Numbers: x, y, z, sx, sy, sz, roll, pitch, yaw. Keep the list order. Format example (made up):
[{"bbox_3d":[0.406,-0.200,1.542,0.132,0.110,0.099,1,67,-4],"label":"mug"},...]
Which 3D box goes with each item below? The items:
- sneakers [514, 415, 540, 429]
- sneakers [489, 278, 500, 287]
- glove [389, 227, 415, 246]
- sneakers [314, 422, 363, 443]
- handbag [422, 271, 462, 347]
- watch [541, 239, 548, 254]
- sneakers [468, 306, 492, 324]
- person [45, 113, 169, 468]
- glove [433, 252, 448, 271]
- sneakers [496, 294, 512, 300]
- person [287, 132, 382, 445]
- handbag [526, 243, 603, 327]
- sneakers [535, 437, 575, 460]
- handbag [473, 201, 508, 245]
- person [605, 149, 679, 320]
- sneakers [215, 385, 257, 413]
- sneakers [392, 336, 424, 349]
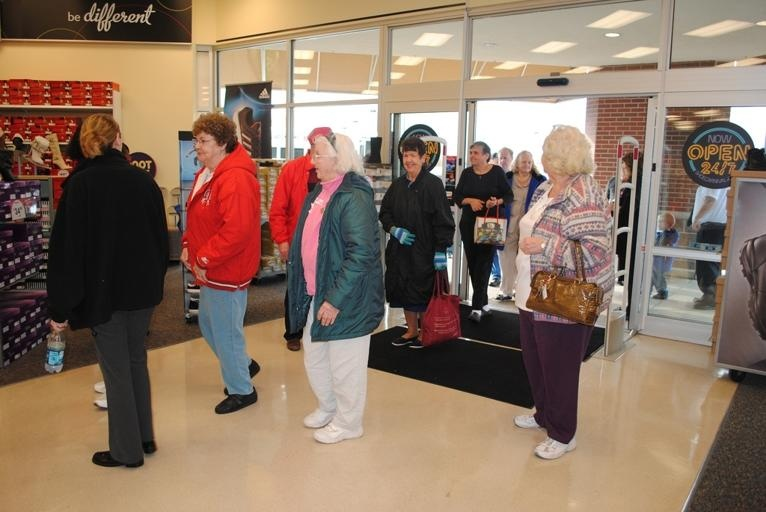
[{"bbox_3d":[1.114,1.290,4.097,0.189,0.079,0.081,7,20,2],"label":"sneakers"},{"bbox_3d":[1.695,0.389,7.924,0.125,0.091,0.124,-1,8,12],"label":"sneakers"},{"bbox_3d":[0.176,-0.206,5.174,0.253,0.177,0.162,15,22,43],"label":"glove"},{"bbox_3d":[-0.340,1.309,3.935,0.359,0.142,0.130,1,7,-15],"label":"sneakers"},{"bbox_3d":[0.551,0.531,5.006,0.345,0.749,0.418,1,16,5],"label":"handbag"},{"bbox_3d":[1.109,-0.077,3.605,0.028,0.077,0.059,4,18,-27],"label":"watch"},{"bbox_3d":[1.189,0.698,6.383,0.123,0.153,0.355,-3,-1,29],"label":"sneakers"},{"bbox_3d":[-1.784,0.262,3.513,0.536,2.306,0.634,4,16,14],"label":"person"},{"bbox_3d":[0.549,0.039,5.040,0.115,0.170,0.113,-2,16,-5],"label":"glove"},{"bbox_3d":[1.652,0.558,7.188,0.221,0.092,0.080,5,8,-10],"label":"sneakers"},{"bbox_3d":[-0.343,0.246,3.779,0.699,2.209,0.535,3,16,12],"label":"person"},{"bbox_3d":[1.240,0.178,3.542,0.452,0.538,0.200,17,17,32],"label":"handbag"},{"bbox_3d":[1.233,1.375,3.812,0.297,0.125,0.118,-1,6,-15],"label":"sneakers"},{"bbox_3d":[1.221,-0.342,6.016,0.321,0.431,0.384,1,16,3],"label":"handbag"},{"bbox_3d":[2.789,-0.312,6.052,0.429,1.893,1.525,7,17,23],"label":"person"},{"bbox_3d":[-1.186,1.177,4.271,0.356,0.139,0.137,-8,17,-38],"label":"sneakers"},{"bbox_3d":[0.259,0.897,5.470,0.330,0.088,0.121,2,0,5],"label":"sneakers"}]
